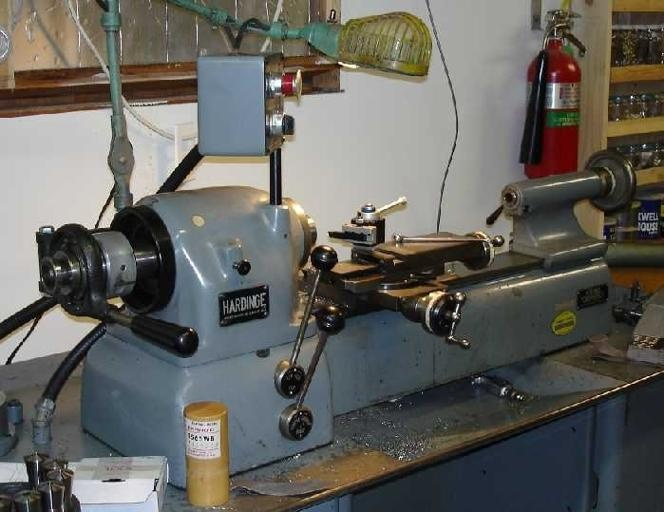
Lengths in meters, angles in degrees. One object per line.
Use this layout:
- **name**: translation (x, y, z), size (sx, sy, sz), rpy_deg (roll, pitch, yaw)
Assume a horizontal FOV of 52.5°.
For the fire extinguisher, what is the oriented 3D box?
- **fire extinguisher**: translation (0.902, -0.667, 2.786), size (0.259, 0.673, 0.149), rpy_deg (-1, 10, 22)
